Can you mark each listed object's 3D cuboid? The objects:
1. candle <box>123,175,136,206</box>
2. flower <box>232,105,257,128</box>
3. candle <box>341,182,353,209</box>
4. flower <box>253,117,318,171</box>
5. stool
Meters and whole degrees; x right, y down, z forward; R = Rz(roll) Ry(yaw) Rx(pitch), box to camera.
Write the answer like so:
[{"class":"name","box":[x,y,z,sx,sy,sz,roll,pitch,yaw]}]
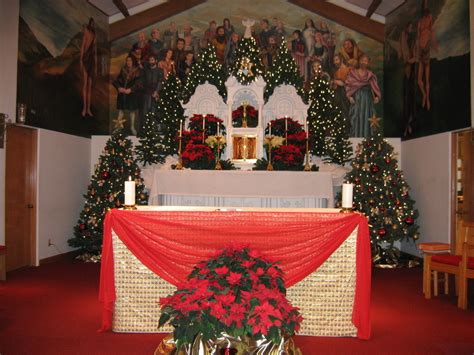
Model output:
[{"class":"candle","box":[-1.574,0.203,7.528,0.148,0.493,0.211,-2,8,-18]},{"class":"flower","box":[0.170,-1.330,11.722,0.478,0.569,0.504,0,3,-25]},{"class":"candle","box":[1.599,0.260,7.481,0.151,0.371,0.190,1,8,7]},{"class":"flower","box":[0.969,-0.546,11.354,1.204,1.446,1.171,3,-14,-13]},{"class":"stool","box":[3.618,1.751,9.484,0.441,0.781,0.491,8,-8,-22]}]
